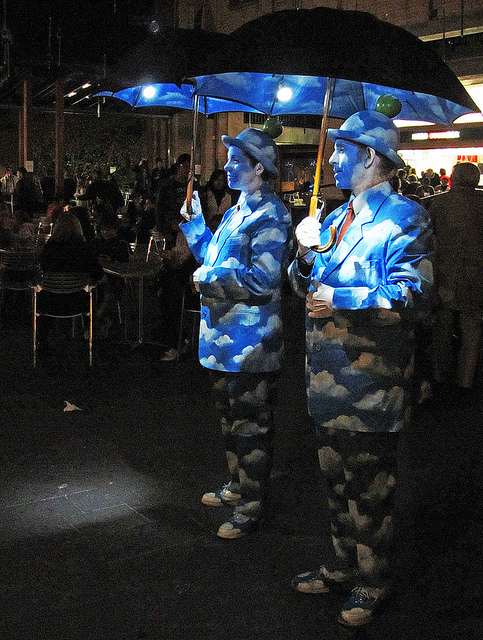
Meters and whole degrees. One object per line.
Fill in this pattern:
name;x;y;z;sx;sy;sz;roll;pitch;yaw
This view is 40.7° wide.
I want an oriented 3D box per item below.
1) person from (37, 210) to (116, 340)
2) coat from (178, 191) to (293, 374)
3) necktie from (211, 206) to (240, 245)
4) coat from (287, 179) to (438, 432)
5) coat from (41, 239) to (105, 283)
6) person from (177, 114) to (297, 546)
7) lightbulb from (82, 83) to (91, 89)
person;-1.583;-0.435;6.669;0.603;1.299;1.081;2;8;8
coat;-0.034;-0.150;2.630;0.454;0.739;0.298;2;8;9
necktie;-0.083;-0.374;2.644;0.040;0.162;0.086;34;1;-18
coat;0.339;-0.035;1.928;0.435;0.743;0.336;4;8;21
coat;-1.605;-0.595;6.206;0.678;0.467;0.344;1;13;-8
person;-0.037;-0.058;2.757;0.514;1.827;1.478;1;8;3
lightbulb;-4.023;-6.097;16.947;0.186;0.086;0.254;-16;5;-34
